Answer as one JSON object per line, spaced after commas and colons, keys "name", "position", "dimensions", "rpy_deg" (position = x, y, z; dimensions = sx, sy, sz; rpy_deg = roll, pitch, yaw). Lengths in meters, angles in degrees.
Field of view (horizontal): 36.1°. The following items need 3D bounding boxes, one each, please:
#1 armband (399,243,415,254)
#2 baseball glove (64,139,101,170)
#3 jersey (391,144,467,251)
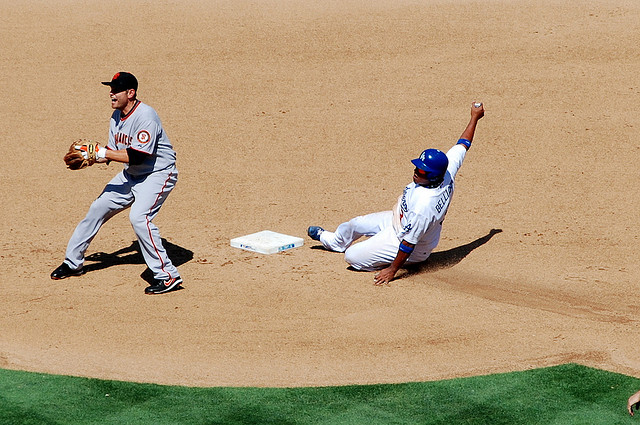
{"name": "armband", "position": [1.288, 0.538, 14.715], "dimensions": [0.209, 0.187, 0.170], "rpy_deg": [5, 21, 3]}
{"name": "baseball glove", "position": [-3.460, -0.818, 14.521], "dimensions": [0.498, 0.354, 0.239], "rpy_deg": [-25, -26, 26]}
{"name": "jersey", "position": [1.764, -0.150, 15.663], "dimensions": [0.638, 1.528, 1.351], "rpy_deg": [36, 52, 11]}
